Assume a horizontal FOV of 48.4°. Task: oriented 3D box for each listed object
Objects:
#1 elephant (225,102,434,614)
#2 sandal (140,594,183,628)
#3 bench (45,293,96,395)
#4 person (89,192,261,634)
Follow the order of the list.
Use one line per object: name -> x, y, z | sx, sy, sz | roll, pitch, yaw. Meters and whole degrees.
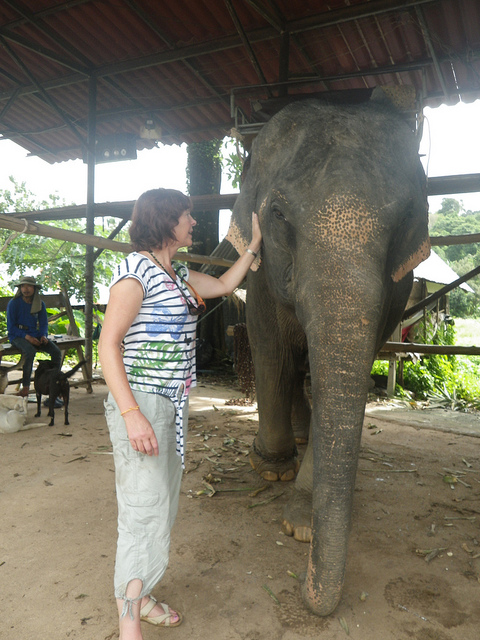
elephant -> 0.418, -0.094, 2.557 | 0.727, 1.694, 2.230 | 1, 8, 7
sandal -> -0.251, 0.946, 1.784 | 0.136, 0.072, 0.126 | 0, 2, 7
bench -> -1.990, 0.284, 6.258 | 0.436, 0.897, 1.213 | 0, 2, 8
person -> -0.237, 0.279, 1.998 | 0.506, 1.395, 0.967 | 0, 2, -10
